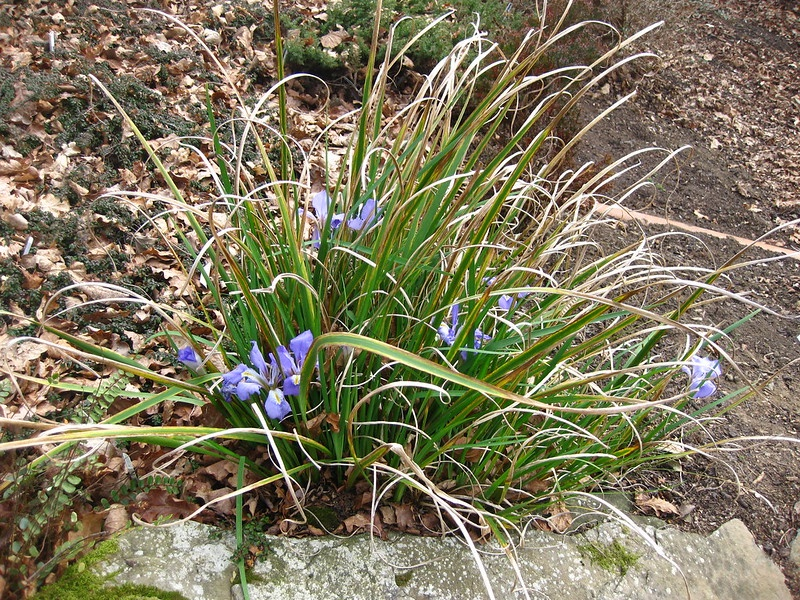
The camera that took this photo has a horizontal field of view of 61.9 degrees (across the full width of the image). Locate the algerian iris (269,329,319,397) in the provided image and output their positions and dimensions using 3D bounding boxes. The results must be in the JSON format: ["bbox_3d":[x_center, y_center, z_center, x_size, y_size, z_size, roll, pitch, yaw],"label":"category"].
[{"bbox_3d":[-0.439,0.283,2.852,0.237,0.255,0.087,10,-5,36],"label":"algerian iris"}]

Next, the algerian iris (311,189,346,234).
[{"bbox_3d":[-0.337,-0.408,3.051,0.128,0.208,0.049,13,23,36],"label":"algerian iris"}]

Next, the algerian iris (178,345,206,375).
[{"bbox_3d":[-0.918,0.266,2.961,0.059,0.134,0.068,30,75,27],"label":"algerian iris"}]
